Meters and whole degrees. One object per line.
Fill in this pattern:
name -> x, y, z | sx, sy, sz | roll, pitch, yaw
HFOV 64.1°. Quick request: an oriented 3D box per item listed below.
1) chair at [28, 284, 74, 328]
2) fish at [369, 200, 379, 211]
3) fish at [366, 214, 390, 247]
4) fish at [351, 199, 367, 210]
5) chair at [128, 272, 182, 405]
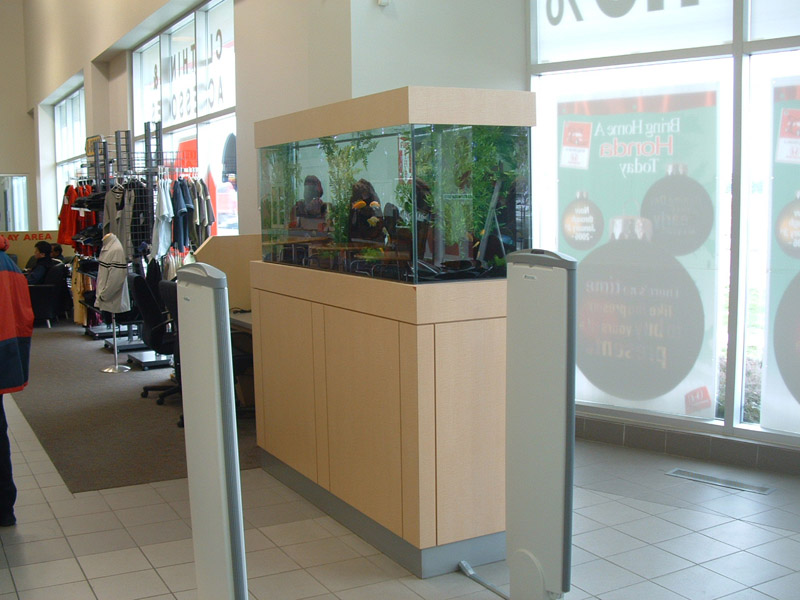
chair -> -6.389, 0.052, 11.551 | 0.522, 0.766, 1.118 | -3, 8, -16
fish -> -0.161, -0.546, 3.668 | 0.017, 0.052, 0.054 | -10, 12, -41
fish -> -0.133, -0.404, 3.670 | 0.003, 0.164, 0.206 | -7, 10, -40
fish -> -0.256, -0.570, 3.787 | 0.023, 0.060, 0.138 | -5, 9, -31
chair -> -2.462, 0.385, 6.789 | 0.709, 1.299, 0.718 | -7, -1, -32
